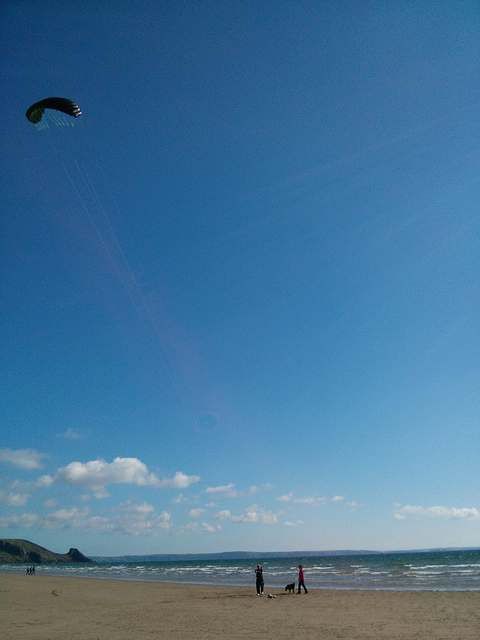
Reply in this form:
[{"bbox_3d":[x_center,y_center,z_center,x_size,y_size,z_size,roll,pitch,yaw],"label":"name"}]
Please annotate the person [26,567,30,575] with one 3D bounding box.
[{"bbox_3d":[-20.272,24.412,63.290,0.201,0.575,1.445,9,-36,-15],"label":"person"}]
